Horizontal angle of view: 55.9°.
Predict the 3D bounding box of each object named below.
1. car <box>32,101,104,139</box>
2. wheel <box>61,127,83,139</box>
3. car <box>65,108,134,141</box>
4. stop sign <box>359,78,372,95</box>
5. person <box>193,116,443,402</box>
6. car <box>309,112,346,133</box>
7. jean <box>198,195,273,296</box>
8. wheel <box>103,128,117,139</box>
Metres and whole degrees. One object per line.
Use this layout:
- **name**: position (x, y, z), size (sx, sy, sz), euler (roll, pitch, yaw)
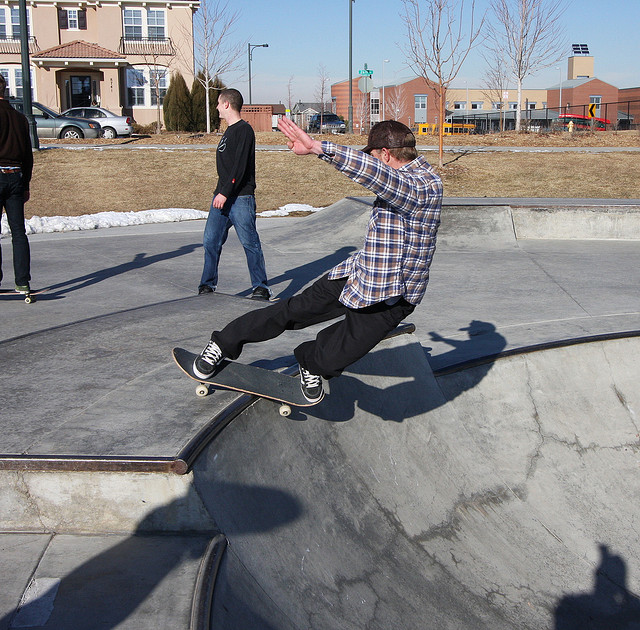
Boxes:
- **car**: position (-9.980, -7.046, 22.434), size (3.457, 0.985, 1.408), euler (5, 13, -11)
- **wheel**: position (-9.274, -6.792, 22.491), size (0.600, 0.497, 0.202), euler (-2, 16, -32)
- **car**: position (-8.619, -7.677, 24.466), size (3.072, 0.831, 1.156), euler (4, 17, -1)
- **stop sign**: position (2.163, -9.998, 26.333), size (0.819, 0.664, 0.743), euler (-3, 13, -3)
- **person**: position (-0.067, -0.240, 3.120), size (1.474, 1.355, 0.970), euler (2, 15, 20)
- **car**: position (0.490, -12.612, 39.760), size (1.679, 1.333, 3.103), euler (-6, 16, -18)
- **jean**: position (-0.767, -0.615, 5.481), size (0.646, 0.923, 0.373), euler (-1, 18, -4)
- **wheel**: position (-8.431, -7.263, 24.144), size (0.568, 0.460, 0.184), euler (0, 11, -20)
